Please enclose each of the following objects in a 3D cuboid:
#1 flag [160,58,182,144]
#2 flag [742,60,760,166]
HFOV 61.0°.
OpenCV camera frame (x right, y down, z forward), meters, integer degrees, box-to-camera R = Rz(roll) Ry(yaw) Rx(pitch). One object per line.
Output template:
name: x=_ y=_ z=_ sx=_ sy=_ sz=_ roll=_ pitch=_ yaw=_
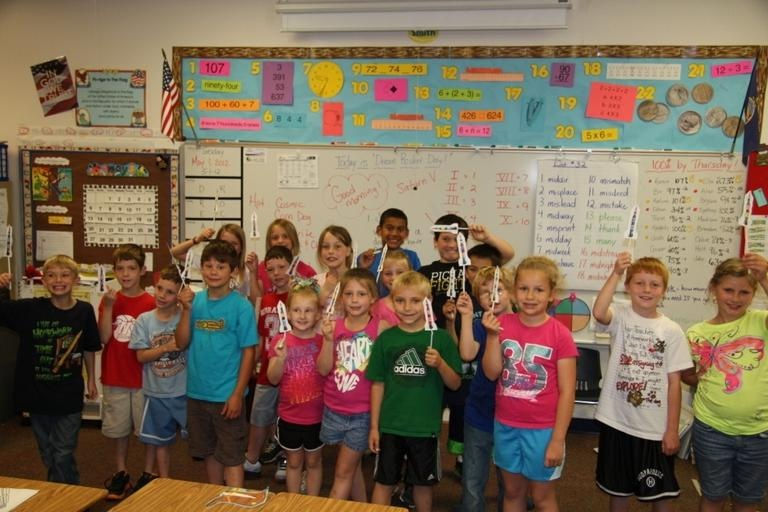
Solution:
flag: x=-1.940 y=-1.476 z=5.895 sx=0.166 sy=0.810 sz=0.509 roll=-3 pitch=9 yaw=-18
flag: x=3.184 y=-1.232 z=5.626 sx=0.148 sy=0.889 sz=0.217 roll=5 pitch=10 yaw=27
